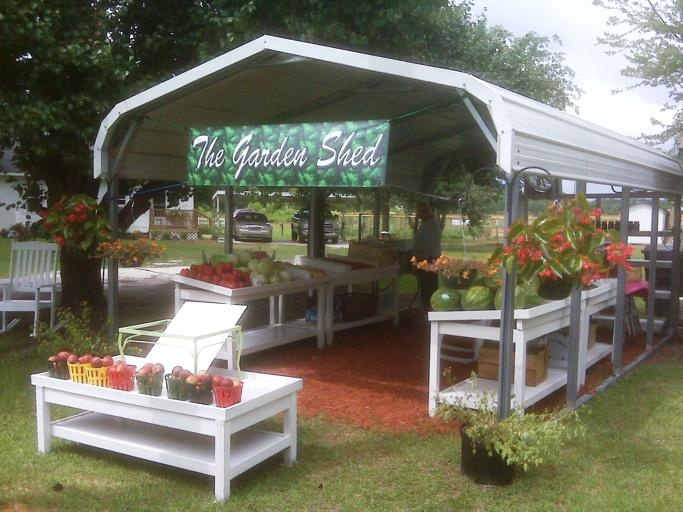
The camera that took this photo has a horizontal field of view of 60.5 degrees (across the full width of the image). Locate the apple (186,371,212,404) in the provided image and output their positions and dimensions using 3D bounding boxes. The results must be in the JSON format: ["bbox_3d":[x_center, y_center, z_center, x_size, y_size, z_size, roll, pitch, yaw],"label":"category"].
[{"bbox_3d":[-1.086,1.028,4.622,0.207,0.215,0.198,-2,-1,41],"label":"apple"}]

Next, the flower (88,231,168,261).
[{"bbox_3d":[-3.748,-0.168,10.345,1.216,0.632,1.256,-1,2,-9],"label":"flower"}]

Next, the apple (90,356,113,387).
[{"bbox_3d":[-2.019,0.972,4.932,0.212,0.245,0.198,3,1,20],"label":"apple"}]

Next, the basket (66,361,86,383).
[{"bbox_3d":[-2.244,1.001,5.031,0.147,0.131,0.169,-1,-4,10],"label":"basket"}]

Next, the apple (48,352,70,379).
[{"bbox_3d":[-2.451,0.957,5.147,0.205,0.211,0.209,2,-3,-20],"label":"apple"}]

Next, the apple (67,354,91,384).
[{"bbox_3d":[-2.270,0.967,5.022,0.211,0.219,0.193,2,-1,20],"label":"apple"}]

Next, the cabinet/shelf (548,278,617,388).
[{"bbox_3d":[2.820,0.758,7.353,0.983,1.151,1.838,1,4,35],"label":"cabinet/shelf"}]

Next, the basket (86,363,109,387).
[{"bbox_3d":[-2.049,1.008,4.925,0.163,0.134,0.180,1,3,-17],"label":"basket"}]

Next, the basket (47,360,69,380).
[{"bbox_3d":[-2.440,0.989,5.058,0.157,0.123,0.162,2,6,-9],"label":"basket"}]

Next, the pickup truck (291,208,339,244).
[{"bbox_3d":[-1.450,-1.410,29.890,1.453,1.343,2.663,0,0,-20],"label":"pickup truck"}]

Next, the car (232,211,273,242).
[{"bbox_3d":[-4.317,-1.484,28.373,1.212,0.994,2.867,0,0,-10],"label":"car"}]

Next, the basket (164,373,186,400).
[{"bbox_3d":[-1.306,1.046,4.652,0.165,0.143,0.187,0,-6,0],"label":"basket"}]

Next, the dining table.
[{"bbox_3d":[-1.456,1.409,5.009,2.095,0.764,0.805,3,7,19],"label":"dining table"}]

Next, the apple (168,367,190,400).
[{"bbox_3d":[-1.279,1.021,4.616,0.182,0.216,0.215,1,-5,-4],"label":"apple"}]

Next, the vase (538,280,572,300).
[{"bbox_3d":[1.690,0.264,4.638,0.191,0.152,0.210,-1,-5,42],"label":"vase"}]

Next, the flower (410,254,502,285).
[{"bbox_3d":[1.246,0.144,6.267,0.614,0.216,0.478,6,5,10],"label":"flower"}]

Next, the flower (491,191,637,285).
[{"bbox_3d":[1.649,-0.130,4.570,0.933,0.702,0.403,-1,6,-17],"label":"flower"}]

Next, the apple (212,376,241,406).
[{"bbox_3d":[-0.873,1.046,4.569,0.205,0.215,0.205,0,1,1],"label":"apple"}]

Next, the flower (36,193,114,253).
[{"bbox_3d":[-3.331,-0.448,7.407,0.750,0.672,0.762,-12,23,-42],"label":"flower"}]

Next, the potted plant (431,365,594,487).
[{"bbox_3d":[1.538,1.496,5.084,1.220,0.610,0.854,-6,9,-44],"label":"potted plant"}]

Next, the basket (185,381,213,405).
[{"bbox_3d":[-1.107,1.062,4.556,0.168,0.122,0.158,0,-1,14],"label":"basket"}]

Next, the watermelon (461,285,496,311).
[{"bbox_3d":[1.395,0.415,5.956,0.286,0.233,0.216,-9,4,-14],"label":"watermelon"}]

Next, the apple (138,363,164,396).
[{"bbox_3d":[-1.540,0.993,4.737,0.226,0.269,0.218,5,-7,-32],"label":"apple"}]

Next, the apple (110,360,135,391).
[{"bbox_3d":[-1.801,0.988,4.843,0.202,0.215,0.207,1,-4,-8],"label":"apple"}]

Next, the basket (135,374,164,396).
[{"bbox_3d":[-1.542,1.043,4.727,0.170,0.135,0.177,0,2,17],"label":"basket"}]

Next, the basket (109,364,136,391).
[{"bbox_3d":[-1.818,0.991,4.882,0.201,0.208,0.207,0,-2,39],"label":"basket"}]

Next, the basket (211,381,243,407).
[{"bbox_3d":[-0.870,1.059,4.510,0.172,0.131,0.188,0,-6,-6],"label":"basket"}]
